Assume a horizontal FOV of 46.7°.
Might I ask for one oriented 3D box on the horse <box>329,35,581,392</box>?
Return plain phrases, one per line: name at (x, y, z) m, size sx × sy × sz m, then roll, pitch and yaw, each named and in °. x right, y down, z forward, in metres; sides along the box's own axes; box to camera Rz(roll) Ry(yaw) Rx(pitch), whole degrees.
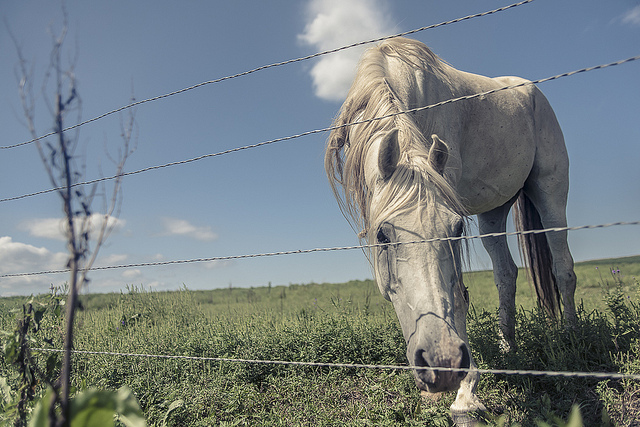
horse at (1.730, -0.120, 9.333) m, size 1.540 × 4.534 × 3.410 m, roll -14°, pitch -16°, yaw 38°
